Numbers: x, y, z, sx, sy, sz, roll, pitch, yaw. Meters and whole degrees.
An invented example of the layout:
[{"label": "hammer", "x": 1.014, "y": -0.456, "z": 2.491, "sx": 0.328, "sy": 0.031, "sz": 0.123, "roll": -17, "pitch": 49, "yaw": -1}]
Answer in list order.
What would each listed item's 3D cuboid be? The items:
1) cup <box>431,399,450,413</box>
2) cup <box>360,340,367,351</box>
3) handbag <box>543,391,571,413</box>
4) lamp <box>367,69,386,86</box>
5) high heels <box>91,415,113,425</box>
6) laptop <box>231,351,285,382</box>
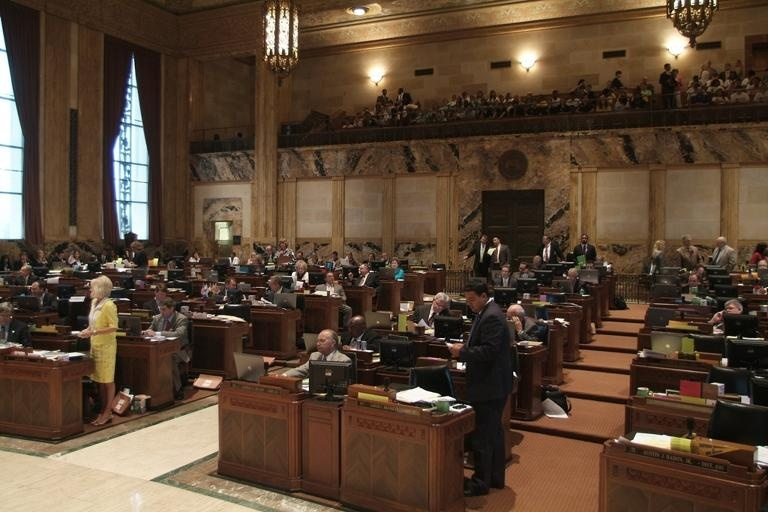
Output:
[{"label": "cup", "x": 0.734, "y": 1.921, "z": 7.671, "sx": 0.158, "sy": 0.113, "sz": 0.153, "roll": -1, "pitch": -7, "yaw": 0}, {"label": "cup", "x": -0.350, "y": 1.532, "z": 10.351, "sx": 0.119, "sy": 0.202, "sz": 0.115, "roll": -1, "pitch": -1, "yaw": 0}, {"label": "handbag", "x": 3.123, "y": 2.592, "z": 10.778, "sx": 0.485, "sy": 0.432, "sz": 0.340, "roll": -19, "pitch": -8, "yaw": 35}, {"label": "lamp", "x": -0.345, "y": -8.077, "z": 27.209, "sx": 0.801, "sy": 0.753, "sz": 0.262, "roll": 5, "pitch": 6, "yaw": 13}, {"label": "high heels", "x": -4.872, "y": 2.838, "z": 10.373, "sx": 0.246, "sy": 0.087, "sz": 0.162, "roll": 7, "pitch": -10, "yaw": -18}, {"label": "laptop", "x": -1.914, "y": 1.619, "z": 8.678, "sx": 0.551, "sy": 0.432, "sz": 0.246, "roll": 6, "pitch": 14, "yaw": 26}]
